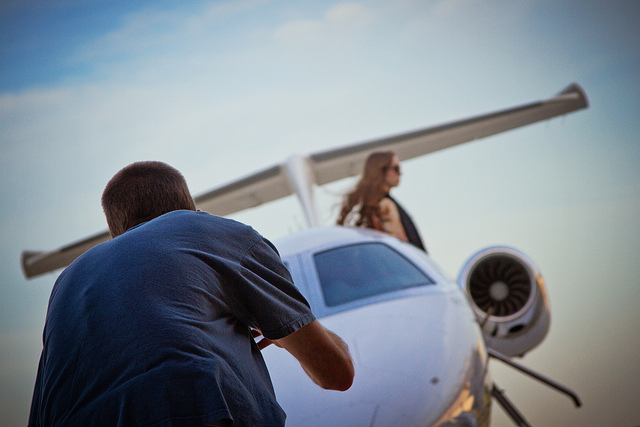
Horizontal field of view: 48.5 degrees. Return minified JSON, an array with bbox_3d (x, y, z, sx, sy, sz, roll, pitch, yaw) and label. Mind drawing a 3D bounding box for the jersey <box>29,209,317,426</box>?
[{"bbox_3d":[-1.077,0.889,5.763,1.833,1.536,0.995,-14,-39,14],"label":"jersey"}]
